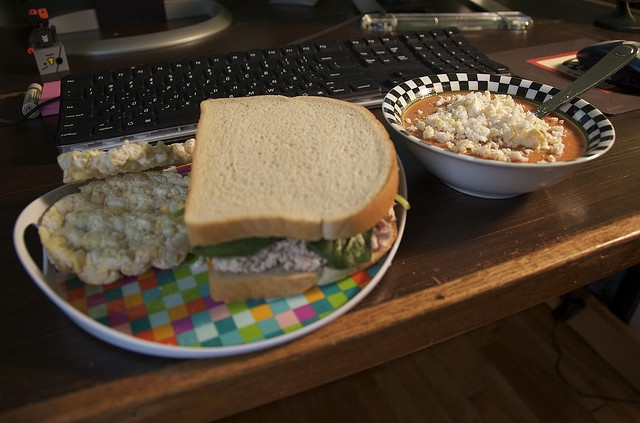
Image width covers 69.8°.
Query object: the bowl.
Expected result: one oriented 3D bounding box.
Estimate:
[{"bbox_3d":[0.349,-0.117,1.021,0.375,0.131,0.382,4,42,-4],"label":"bowl"}]
